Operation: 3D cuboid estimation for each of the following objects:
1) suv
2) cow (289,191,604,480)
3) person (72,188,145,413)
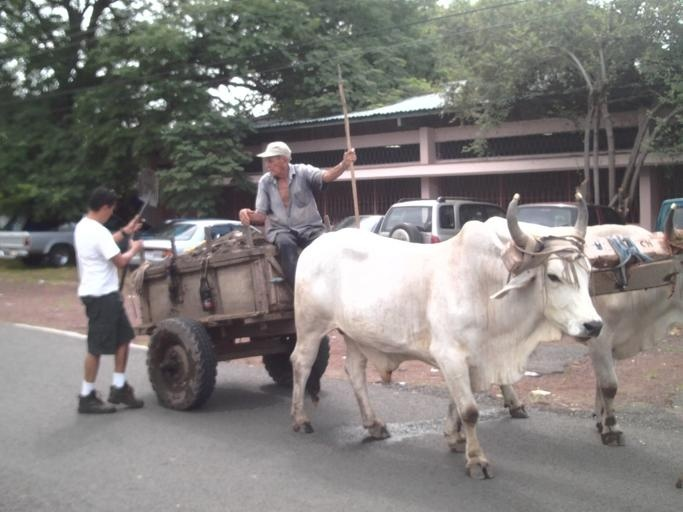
[{"bbox_3d":[2.121,-0.886,17.041,1.282,1.189,2.384,5,14,41],"label":"suv"},{"bbox_3d":[1.000,0.703,7.538,3.164,2.727,0.772,3,10,28],"label":"cow"},{"bbox_3d":[-2.850,0.693,9.010,0.857,2.333,0.664,-5,9,-21],"label":"person"}]
